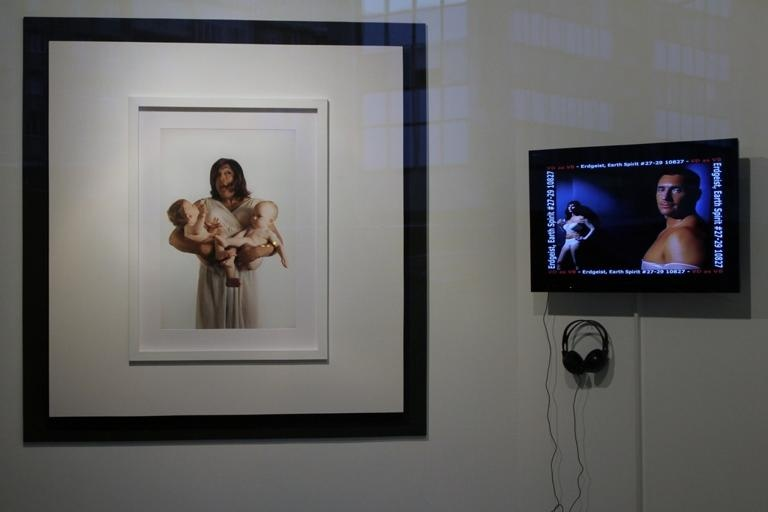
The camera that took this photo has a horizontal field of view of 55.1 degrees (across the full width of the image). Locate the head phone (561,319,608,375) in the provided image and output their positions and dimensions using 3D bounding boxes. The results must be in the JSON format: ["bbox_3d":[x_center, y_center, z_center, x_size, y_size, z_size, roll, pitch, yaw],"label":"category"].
[{"bbox_3d":[0.946,0.428,3.485,0.203,0.268,0.092,-1,12,13],"label":"head phone"}]

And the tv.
[{"bbox_3d":[1.186,-0.175,3.436,0.698,0.511,0.026,-1,-1,7],"label":"tv"}]
